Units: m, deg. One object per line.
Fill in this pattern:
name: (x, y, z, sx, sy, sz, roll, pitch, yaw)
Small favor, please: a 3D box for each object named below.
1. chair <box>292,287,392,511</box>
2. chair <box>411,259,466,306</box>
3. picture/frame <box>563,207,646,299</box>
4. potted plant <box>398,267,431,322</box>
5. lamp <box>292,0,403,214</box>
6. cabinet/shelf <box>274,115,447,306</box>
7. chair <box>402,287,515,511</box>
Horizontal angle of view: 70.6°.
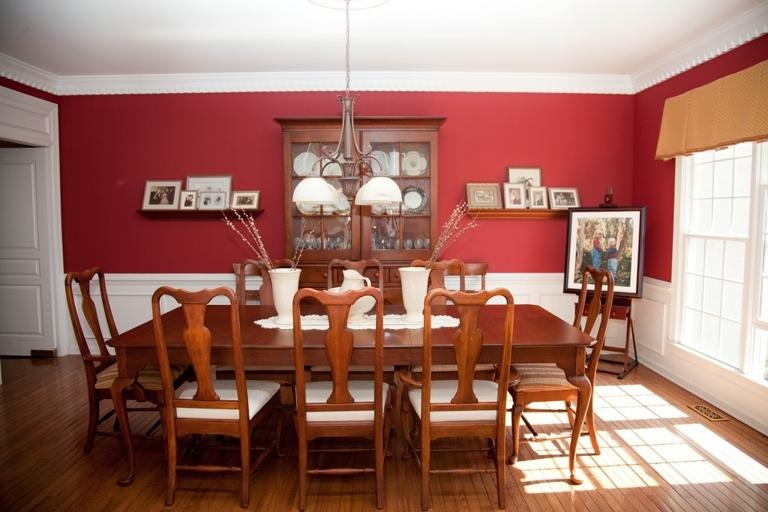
chair: (-0.365, 1.126, 4.646, 0.803, 1.851, 0.707, -3, 8, -1)
chair: (0.657, 0.301, 6.119, 0.517, 0.866, 0.555, -1, -5, 9)
picture/frame: (2.648, -0.056, 6.426, 1.095, 1.300, 0.080, 1, -1, 20)
potted plant: (0.281, 0.361, 5.034, 0.435, 0.602, 0.433, 0, 1, 1)
lamp: (-0.404, -1.451, 5.598, 1.128, 2.119, 1.785, -4, 8, -7)
cabinet/shelf: (-0.261, -0.507, 6.070, 2.251, 2.774, 0.718, 0, 1, -2)
chair: (0.613, 1.120, 4.734, 0.961, 1.847, 0.939, -4, 8, -8)
